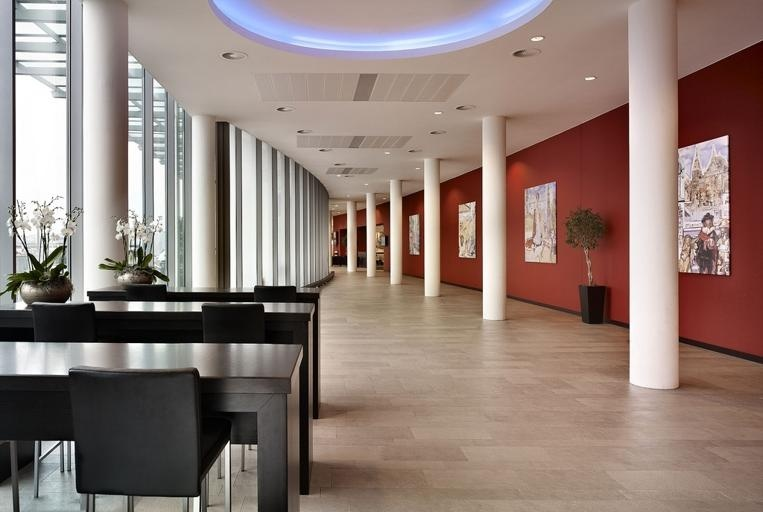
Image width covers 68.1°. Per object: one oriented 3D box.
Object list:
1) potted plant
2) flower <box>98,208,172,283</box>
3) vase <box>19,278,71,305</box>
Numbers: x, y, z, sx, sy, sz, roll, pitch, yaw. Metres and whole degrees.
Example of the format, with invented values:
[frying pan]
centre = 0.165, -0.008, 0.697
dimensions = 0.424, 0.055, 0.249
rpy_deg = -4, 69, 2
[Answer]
[potted plant]
centre = 3.614, 0.154, 9.869
dimensions = 0.676, 1.929, 0.871
rpy_deg = -2, 9, -4
[flower]
centre = -2.894, -0.054, 6.545
dimensions = 0.661, 0.881, 0.784
rpy_deg = 1, 0, 32
[vase]
centre = -3.128, 0.331, 5.300
dimensions = 0.291, 0.165, 0.334
rpy_deg = -1, -2, 28
